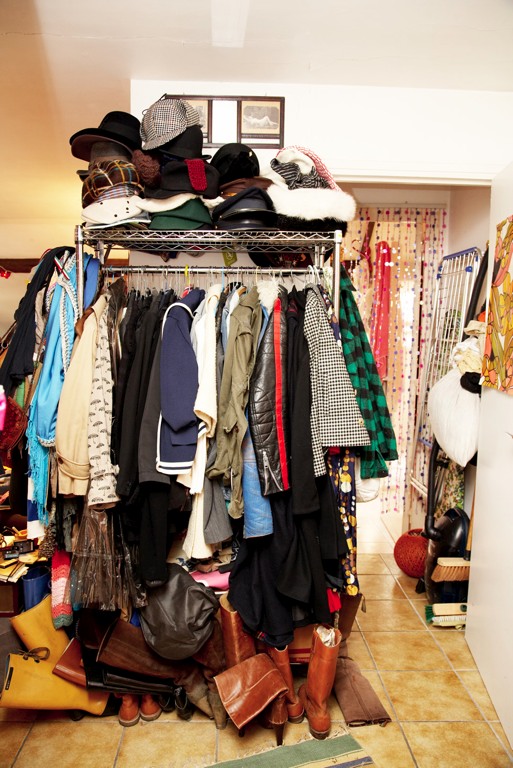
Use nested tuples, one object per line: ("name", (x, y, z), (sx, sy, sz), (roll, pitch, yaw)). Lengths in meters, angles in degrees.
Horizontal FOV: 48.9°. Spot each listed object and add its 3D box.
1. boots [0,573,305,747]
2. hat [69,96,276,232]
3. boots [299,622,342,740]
("boots", (-0.396, 0.879, 1.834), (0.711, 0.473, 0.284), (6, -30, -3))
("hat", (-0.303, -0.742, 2.012), (0.632, 0.366, 0.461), (-18, 35, -28))
("boots", (0.210, 0.951, 1.812), (0.105, 0.322, 0.120), (1, 5, 6))
